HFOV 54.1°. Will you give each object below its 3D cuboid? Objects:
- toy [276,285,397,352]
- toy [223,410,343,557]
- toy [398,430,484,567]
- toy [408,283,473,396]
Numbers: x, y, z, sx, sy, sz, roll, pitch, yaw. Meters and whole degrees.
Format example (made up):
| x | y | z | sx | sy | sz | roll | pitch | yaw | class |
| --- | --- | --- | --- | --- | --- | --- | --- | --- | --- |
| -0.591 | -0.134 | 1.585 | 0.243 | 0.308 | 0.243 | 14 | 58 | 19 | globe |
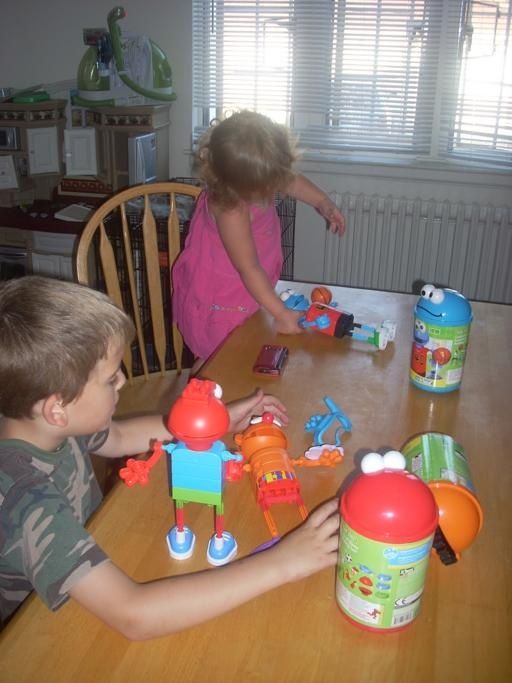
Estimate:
| x | y | z | sx | sy | sz | roll | pitch | yaw | class |
| --- | --- | --- | --- | --- | --- | --- | --- | --- | --- |
| 0.167 | -0.045 | 1.042 | 0.205 | 0.053 | 0.116 | 24 | 78 | 25 | toy |
| 0.039 | 0.153 | 0.558 | 0.122 | 0.051 | 0.125 | -24 | 43 | 6 | toy |
| 0.173 | 0.149 | 0.467 | 0.061 | 0.062 | 0.101 | -31 | 21 | 15 | toy |
| 0.289 | 0.005 | 0.785 | 0.099 | 0.195 | 0.102 | -2 | 39 | 5 | toy |
